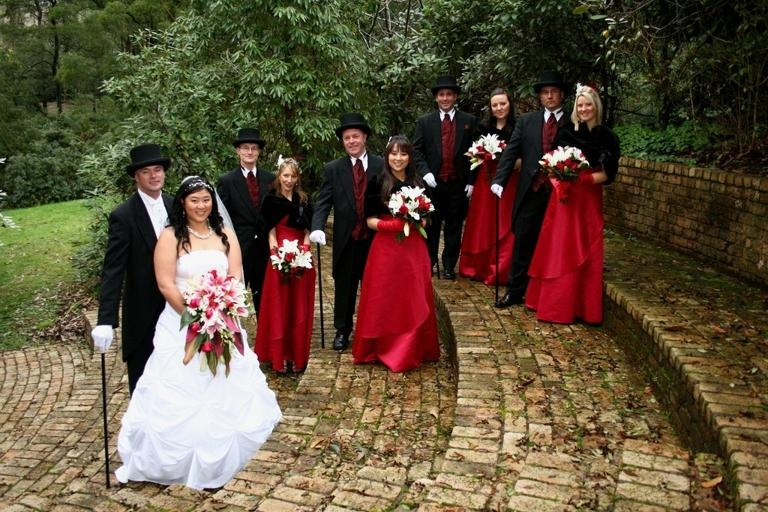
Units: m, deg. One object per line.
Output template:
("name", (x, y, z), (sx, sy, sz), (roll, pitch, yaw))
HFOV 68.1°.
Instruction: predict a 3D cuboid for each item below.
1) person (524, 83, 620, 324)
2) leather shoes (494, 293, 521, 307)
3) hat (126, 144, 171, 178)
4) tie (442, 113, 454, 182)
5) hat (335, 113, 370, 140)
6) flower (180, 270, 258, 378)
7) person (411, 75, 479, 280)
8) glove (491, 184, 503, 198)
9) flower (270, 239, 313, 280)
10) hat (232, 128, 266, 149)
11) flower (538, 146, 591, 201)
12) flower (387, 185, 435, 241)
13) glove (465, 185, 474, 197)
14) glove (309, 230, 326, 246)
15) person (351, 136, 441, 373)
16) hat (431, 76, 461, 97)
("person", (2.331, -0.600, 6.933), (1.104, 2.842, 0.834), (-7, 16, -11))
("leather shoes", (1.652, 0.563, 7.573), (0.409, 0.160, 0.149), (-8, 13, -27))
("hat", (-2.553, -1.057, 6.114), (0.488, 0.290, 0.548), (-16, 14, -16))
("tie", (0.968, -1.621, 8.663), (0.197, 0.881, 0.240), (0, 16, 13))
("hat", (-0.388, -1.715, 7.230), (0.357, 0.209, 0.401), (-5, -9, 1))
("flower", (-1.704, 0.703, 5.710), (0.687, 1.075, 0.320), (-9, 16, -19))
("person", (1.018, -1.161, 8.877), (1.097, 3.206, 1.029), (0, 23, 4))
("glove", (1.520, -0.854, 7.594), (0.108, 0.209, 0.153), (3, 24, 4))
("flower", (-1.146, 0.027, 7.193), (0.482, 0.477, 0.267), (-24, 8, -4))
("hat", (-1.846, -1.606, 7.719), (0.394, 0.282, 0.304), (-8, 16, -14))
("flower", (2.177, -0.969, 6.937), (0.685, 0.599, 0.661), (0, 9, -25))
("flower", (0.308, -0.517, 6.631), (0.509, 0.580, 0.422), (-4, 15, -2))
("glove", (1.291, -1.008, 8.679), (0.114, 0.156, 0.050), (10, 6, 30))
("glove", (-0.832, -0.223, 7.080), (0.193, 0.219, 0.239), (-7, 15, -11))
("person", (0.084, -0.012, 6.692), (1.088, 2.679, 0.859), (-10, 17, -21))
("hat", (0.923, -2.606, 8.589), (0.373, 0.273, 0.403), (-2, 15, 7))
